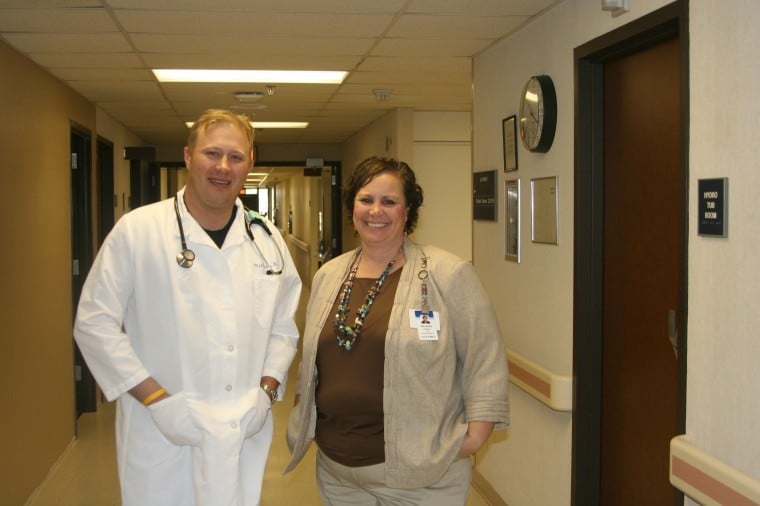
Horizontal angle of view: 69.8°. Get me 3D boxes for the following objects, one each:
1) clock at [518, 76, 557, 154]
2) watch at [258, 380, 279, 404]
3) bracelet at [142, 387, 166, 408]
[{"bbox_3d":[1.041,-0.908,3.592,0.109,0.497,0.353,-1,5,-9],"label":"clock"},{"bbox_3d":[-0.525,0.637,2.533,0.079,0.113,0.047,7,22,15],"label":"watch"},{"bbox_3d":[-0.964,0.622,2.327,0.095,0.068,0.033,-2,6,-24],"label":"bracelet"}]
